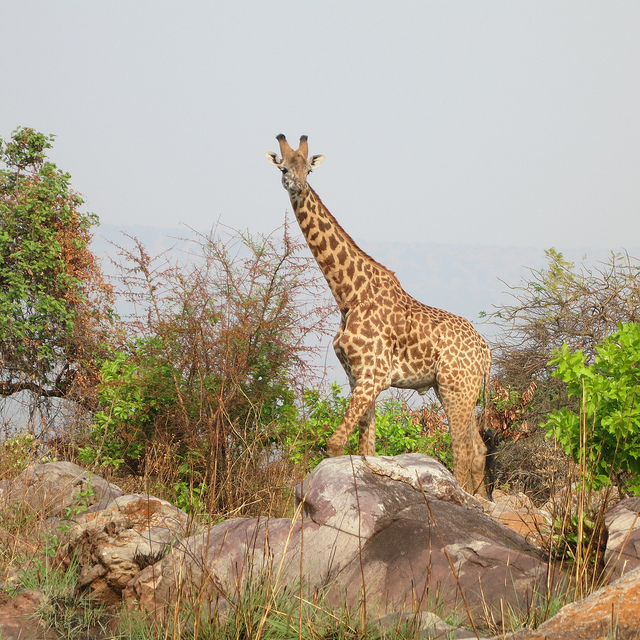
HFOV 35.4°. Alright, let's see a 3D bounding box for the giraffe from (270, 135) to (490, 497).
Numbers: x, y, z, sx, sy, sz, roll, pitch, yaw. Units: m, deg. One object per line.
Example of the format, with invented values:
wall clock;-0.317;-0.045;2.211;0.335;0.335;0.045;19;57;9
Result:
giraffe;0.723;-0.038;10.361;2.412;3.545;0.935;5;-10;-28
